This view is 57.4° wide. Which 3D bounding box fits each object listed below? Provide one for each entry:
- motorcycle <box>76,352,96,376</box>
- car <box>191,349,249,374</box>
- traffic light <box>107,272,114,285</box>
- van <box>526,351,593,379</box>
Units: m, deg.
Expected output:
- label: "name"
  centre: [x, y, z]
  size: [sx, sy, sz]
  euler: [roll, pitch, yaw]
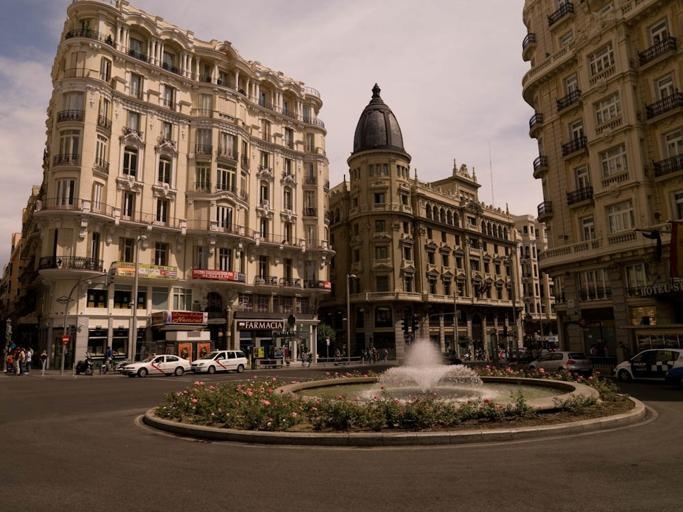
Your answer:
- label: "motorcycle"
  centre: [-18.287, 7.825, 44.668]
  size: [1.089, 1.531, 2.368]
  euler: [3, -6, -18]
- label: "car"
  centre: [-8.801, 7.524, 44.380]
  size: [3.037, 1.198, 1.621]
  euler: [13, -18, -42]
- label: "traffic light"
  centre: [-18.379, 1.800, 49.653]
  size: [0.586, 1.063, 0.529]
  euler: [4, -15, -23]
- label: "van"
  centre: [12.609, 6.018, 36.278]
  size: [2.156, 1.613, 3.528]
  euler: [10, -11, -34]
